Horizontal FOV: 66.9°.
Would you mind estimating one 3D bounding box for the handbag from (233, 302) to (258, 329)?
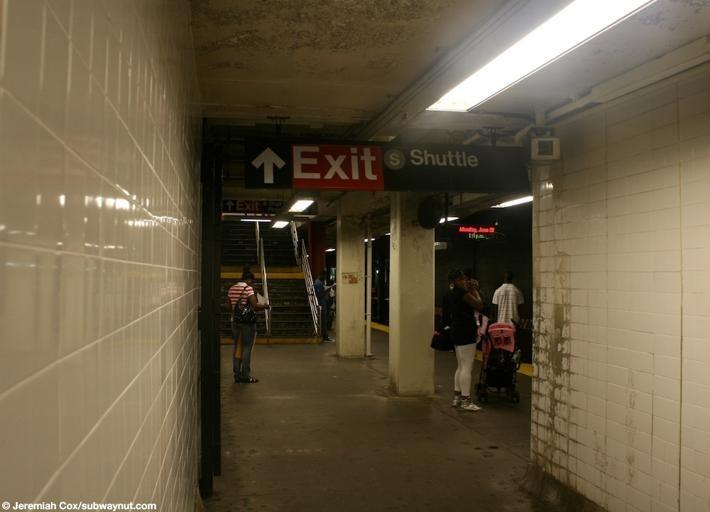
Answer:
[{"bbox_3d":[-1.816,0.923,8.904,0.386,0.410,0.262,0,5,-17],"label":"handbag"}]

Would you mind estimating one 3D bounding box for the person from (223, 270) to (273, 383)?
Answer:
[{"bbox_3d":[-1.865,1.177,9.187,0.604,1.912,1.056,1,-1,-10],"label":"person"}]

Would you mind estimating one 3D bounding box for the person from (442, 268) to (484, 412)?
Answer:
[{"bbox_3d":[1.536,1.170,7.584,0.487,1.933,0.514,0,-1,11],"label":"person"}]

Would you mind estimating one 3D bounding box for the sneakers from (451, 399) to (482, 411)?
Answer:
[{"bbox_3d":[1.543,2.064,7.569,0.449,0.220,0.158,1,1,3],"label":"sneakers"}]

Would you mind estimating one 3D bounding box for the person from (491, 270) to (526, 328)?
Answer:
[{"bbox_3d":[2.646,0.716,9.300,0.484,0.937,1.760,0,-1,16],"label":"person"}]
